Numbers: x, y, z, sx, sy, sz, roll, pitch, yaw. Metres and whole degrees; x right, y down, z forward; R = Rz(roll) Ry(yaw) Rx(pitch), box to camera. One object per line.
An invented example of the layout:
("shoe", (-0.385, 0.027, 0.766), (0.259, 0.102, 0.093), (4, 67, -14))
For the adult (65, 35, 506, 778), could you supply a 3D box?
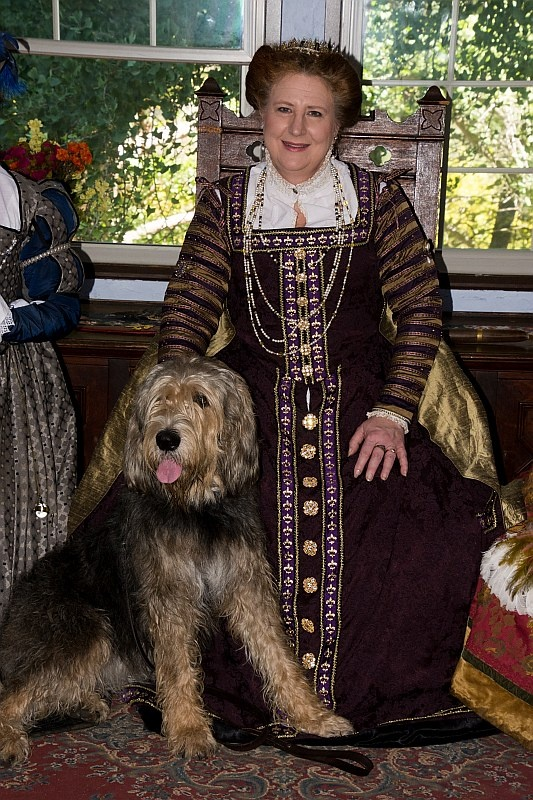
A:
("adult", (0.089, -0.065, 2.007), (1.347, 1.612, 1.052), (6, 27, 25))
